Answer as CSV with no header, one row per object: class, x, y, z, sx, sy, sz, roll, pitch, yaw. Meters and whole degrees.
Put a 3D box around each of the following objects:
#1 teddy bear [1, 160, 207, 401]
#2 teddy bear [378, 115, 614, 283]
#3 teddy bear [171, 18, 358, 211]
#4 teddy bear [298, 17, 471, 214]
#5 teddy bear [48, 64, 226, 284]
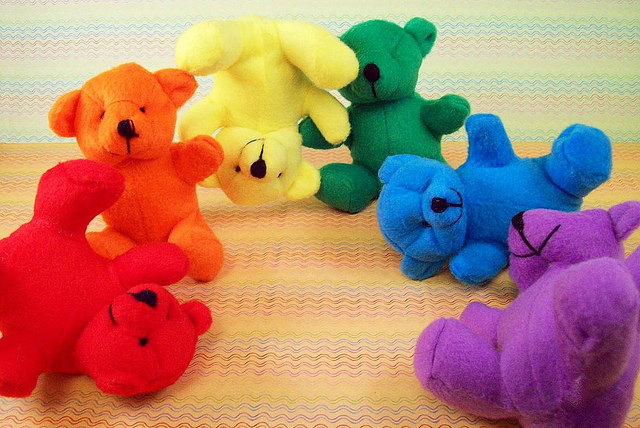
teddy bear,-0.503,0.154,1.505,0.463,0.402,0.414,-5,44,-6
teddy bear,0.466,-0.006,1.788,0.538,0.232,0.403,-20,63,15
teddy bear,-0.149,-0.266,1.804,0.545,0.557,0.312,-3,11,-12
teddy bear,0.187,-0.286,1.910,0.530,0.511,0.400,-6,22,10
teddy bear,-0.476,-0.100,1.689,0.456,0.530,0.362,-7,28,-18
